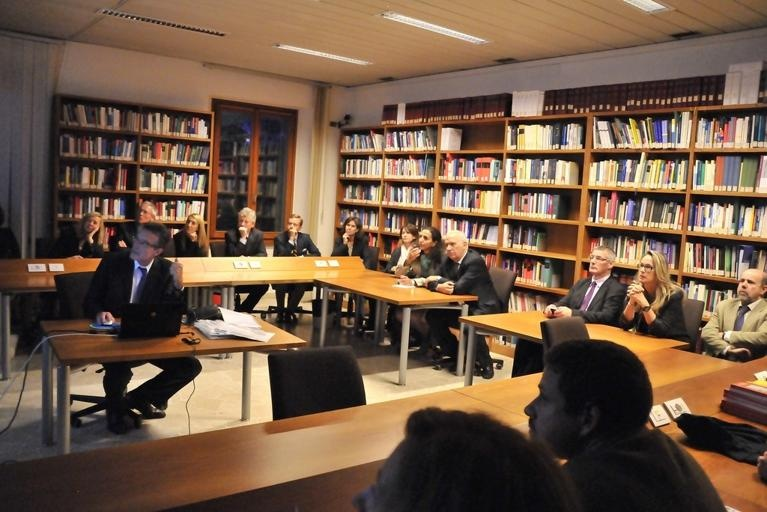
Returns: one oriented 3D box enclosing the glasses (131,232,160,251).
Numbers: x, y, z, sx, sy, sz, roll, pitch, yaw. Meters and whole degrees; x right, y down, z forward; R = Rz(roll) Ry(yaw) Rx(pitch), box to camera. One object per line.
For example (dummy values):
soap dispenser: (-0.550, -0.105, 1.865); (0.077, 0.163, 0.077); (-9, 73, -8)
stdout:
glasses: (-1.774, -0.105, 4.018); (0.207, 0.125, 0.103); (1, 5, -8)

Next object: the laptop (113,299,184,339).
laptop: (-1.482, 0.417, 3.439); (0.402, 0.220, 0.255); (0, 11, -22)

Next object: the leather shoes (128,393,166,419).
leather shoes: (-1.795, 1.139, 4.091); (0.376, 0.147, 0.110); (11, 27, -29)

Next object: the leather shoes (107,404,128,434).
leather shoes: (-1.980, 1.196, 3.992); (0.144, 0.196, 0.093); (-5, -6, -24)

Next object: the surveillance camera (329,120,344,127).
surveillance camera: (-0.819, -2.254, 9.290); (0.188, 0.050, 0.108); (-3, 8, -38)

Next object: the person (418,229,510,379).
person: (0.871, 0.500, 5.900); (0.945, 1.420, 0.851); (3, -3, -40)

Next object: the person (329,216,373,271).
person: (-0.479, -0.119, 7.577); (0.665, 0.727, 0.615); (-1, 19, -19)

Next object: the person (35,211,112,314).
person: (-3.332, 0.029, 5.885); (0.684, 0.842, 0.664); (19, 6, -15)
